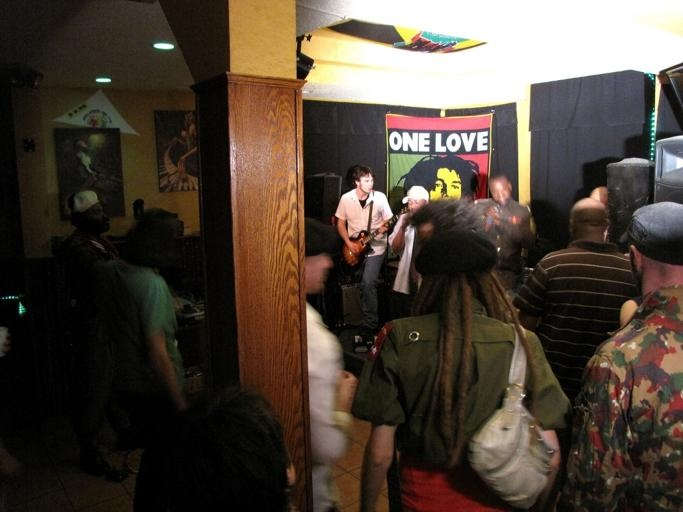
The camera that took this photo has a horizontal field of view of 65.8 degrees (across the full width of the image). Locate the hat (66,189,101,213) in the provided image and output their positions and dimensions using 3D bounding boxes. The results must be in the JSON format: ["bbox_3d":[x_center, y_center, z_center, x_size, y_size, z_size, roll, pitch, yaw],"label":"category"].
[{"bbox_3d":[-1.704,-0.357,3.538,0.219,0.146,0.144,-3,9,-9],"label":"hat"}]

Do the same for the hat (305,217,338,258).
[{"bbox_3d":[-0.094,-0.114,3.066,0.185,0.213,0.206,0,2,7],"label":"hat"}]

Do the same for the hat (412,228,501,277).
[{"bbox_3d":[0.548,-0.015,2.531,0.368,0.172,0.445,-3,-12,4],"label":"hat"}]
